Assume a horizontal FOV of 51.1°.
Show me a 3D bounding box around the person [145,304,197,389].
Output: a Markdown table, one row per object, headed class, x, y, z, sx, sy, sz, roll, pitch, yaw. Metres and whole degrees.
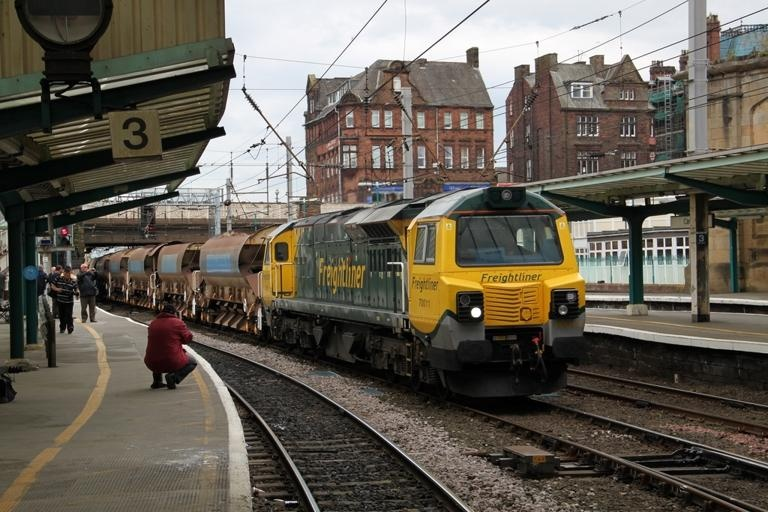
| class | x | y | z | sx | sy | sz | roll | pitch | yaw |
| --- | --- | --- | --- | --- | --- | --- | --- | --- | --- |
| person | -4.618 | 1.955 | 17.392 | 1.032 | 1.843 | 1.057 | -2 | -2 | -14 |
